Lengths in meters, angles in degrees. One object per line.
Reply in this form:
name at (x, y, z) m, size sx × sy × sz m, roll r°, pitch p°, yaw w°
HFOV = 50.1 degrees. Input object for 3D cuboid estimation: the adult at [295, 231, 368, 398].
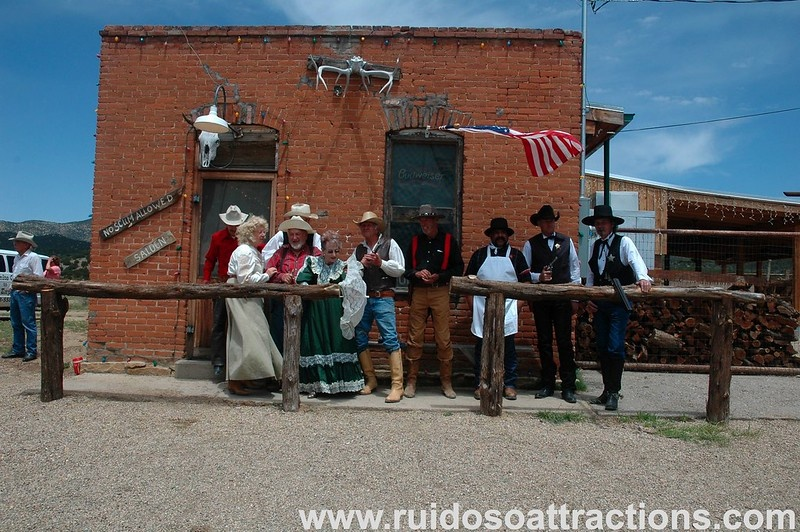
adult at (-1.027, 0.700, 12.178) m, size 0.943 × 2.329 × 0.436 m, roll 2°, pitch -2°, yaw -7°

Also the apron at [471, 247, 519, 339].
apron at (1.396, 0.409, 12.487) m, size 0.673 × 1.245 × 0.333 m, roll 1°, pitch 3°, yaw 14°

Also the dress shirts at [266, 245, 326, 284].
dress shirts at (-1.505, -0.028, 12.456) m, size 0.941 × 0.722 × 0.303 m, roll 0°, pitch 43°, yaw -12°

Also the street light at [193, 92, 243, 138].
street light at (-2.845, -2.236, 13.038) m, size 0.391 × 0.471 × 0.685 m, roll 2°, pitch -7°, yaw 11°

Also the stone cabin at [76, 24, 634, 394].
stone cabin at (-0.169, -0.917, 15.288) m, size 9.130 × 5.540 × 5.438 m, roll 4°, pitch 1°, yaw 26°

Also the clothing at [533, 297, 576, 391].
clothing at (2.235, 1.179, 12.480) m, size 0.628 × 1.335 × 0.331 m, roll 1°, pitch -2°, yaw 7°

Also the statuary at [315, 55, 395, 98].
statuary at (-0.719, -2.943, 13.194) m, size 1.430 × 0.578 × 0.218 m, roll 1°, pitch 8°, yaw -15°

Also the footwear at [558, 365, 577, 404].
footwear at (2.425, 1.683, 12.343) m, size 0.262 × 0.577 × 0.224 m, roll 1°, pitch -2°, yaw 16°

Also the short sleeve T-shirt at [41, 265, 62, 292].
short sleeve T-shirt at (-5.783, 0.211, 14.134) m, size 0.331 × 0.319 × 0.232 m, roll -1°, pitch -3°, yaw -9°

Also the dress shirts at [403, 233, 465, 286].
dress shirts at (0.452, -0.058, 12.495) m, size 0.942 × 0.832 × 0.487 m, roll -1°, pitch -9°, yaw 19°

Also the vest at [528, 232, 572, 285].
vest at (2.216, -0.085, 12.627) m, size 0.603 × 0.730 × 0.421 m, roll -1°, pitch -5°, yaw -2°

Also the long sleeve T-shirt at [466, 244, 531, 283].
long sleeve T-shirt at (1.456, 0.014, 12.661) m, size 1.029 × 0.671 × 0.501 m, roll 2°, pitch -4°, yaw 8°

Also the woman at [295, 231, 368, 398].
woman at (-1.023, 0.701, 12.190) m, size 0.952 × 2.329 × 0.435 m, roll 2°, pitch -2°, yaw -9°

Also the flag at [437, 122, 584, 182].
flag at (1.748, -1.749, 13.039) m, size 1.925 × 0.675 × 0.400 m, roll 13°, pitch 12°, yaw -1°

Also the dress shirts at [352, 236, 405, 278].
dress shirts at (-0.355, -0.103, 12.435) m, size 0.869 × 0.613 × 0.480 m, roll -3°, pitch 10°, yaw 19°

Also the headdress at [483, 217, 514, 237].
headdress at (1.460, -0.574, 12.670) m, size 0.302 × 0.122 × 0.329 m, roll 1°, pitch -17°, yaw 3°

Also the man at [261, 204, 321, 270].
man at (-1.568, -0.389, 12.508) m, size 0.845 × 1.319 × 0.580 m, roll 6°, pitch 10°, yaw 17°

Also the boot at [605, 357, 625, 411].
boot at (3.025, 1.657, 12.087) m, size 0.384 × 0.748 × 0.195 m, roll 3°, pitch -3°, yaw -41°

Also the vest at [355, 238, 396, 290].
vest at (-0.339, 0.005, 12.239) m, size 0.673 × 0.882 × 0.506 m, roll -5°, pitch -6°, yaw 5°

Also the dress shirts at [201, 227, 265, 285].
dress shirts at (-2.509, -0.196, 12.849) m, size 1.009 × 0.772 × 0.328 m, roll -6°, pitch 8°, yaw -22°

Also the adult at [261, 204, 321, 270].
adult at (-1.568, -0.389, 12.508) m, size 0.845 × 1.319 × 0.580 m, roll 6°, pitch 10°, yaw 17°

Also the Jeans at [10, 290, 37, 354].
Jeans at (-6.433, 0.990, 14.573) m, size 0.401 × 1.077 × 0.809 m, roll 2°, pitch -2°, yaw -26°

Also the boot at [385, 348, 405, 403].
boot at (-0.074, 1.572, 12.272) m, size 0.267 × 0.737 × 0.448 m, roll 1°, pitch -2°, yaw 0°
